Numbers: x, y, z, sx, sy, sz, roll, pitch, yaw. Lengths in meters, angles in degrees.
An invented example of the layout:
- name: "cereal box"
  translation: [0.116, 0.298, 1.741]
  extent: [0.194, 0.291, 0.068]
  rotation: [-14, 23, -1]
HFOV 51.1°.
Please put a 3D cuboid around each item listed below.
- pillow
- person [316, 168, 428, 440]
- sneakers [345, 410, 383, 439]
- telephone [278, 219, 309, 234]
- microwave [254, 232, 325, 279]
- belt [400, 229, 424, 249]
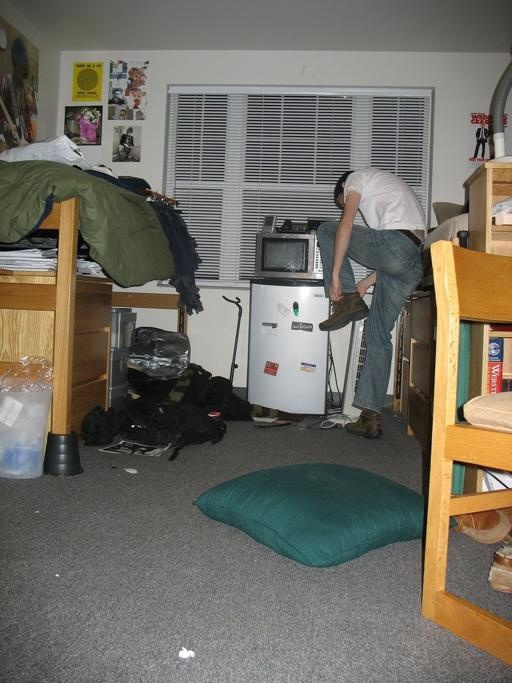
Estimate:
- name: "pillow"
  translation: [0.156, 0.452, 1.482]
  extent: [0.457, 0.197, 0.484]
  rotation: [1, 2, -39]
- name: "person"
  translation: [0.591, -0.248, 2.847]
  extent: [0.575, 1.317, 0.467]
  rotation: [4, 1, 36]
- name: "sneakers"
  translation: [0.578, 0.417, 2.842]
  extent: [0.097, 0.162, 0.241]
  rotation: [-5, 13, -31]
- name: "telephone"
  translation: [0.271, -0.783, 3.686]
  extent: [0.145, 0.083, 0.197]
  rotation: [3, 10, 8]
- name: "microwave"
  translation: [0.197, -0.567, 3.529]
  extent: [0.539, 0.334, 0.313]
  rotation: [1, 3, 11]
- name: "belt"
  translation: [0.792, -0.518, 2.668]
  extent: [0.107, 0.029, 0.080]
  rotation: [32, 17, 21]
